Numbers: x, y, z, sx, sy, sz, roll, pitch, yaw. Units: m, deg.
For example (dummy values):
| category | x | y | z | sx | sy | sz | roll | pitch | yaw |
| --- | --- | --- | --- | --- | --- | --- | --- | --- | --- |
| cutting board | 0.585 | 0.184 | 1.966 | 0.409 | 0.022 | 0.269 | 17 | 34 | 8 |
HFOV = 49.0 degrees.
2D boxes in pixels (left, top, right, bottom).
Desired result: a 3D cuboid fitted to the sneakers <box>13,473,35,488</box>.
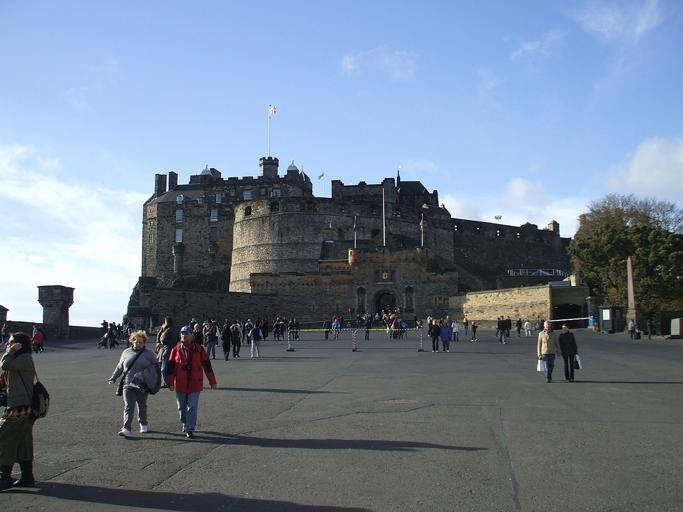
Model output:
| category | x | y | z | sx | sy | sz | roll | pitch | yaw |
| --- | --- | --- | --- | --- | --- | --- | --- | --- | --- |
| sneakers | -3.651 | 2.599 | 8.671 | 0.281 | 0.144 | 0.111 | 0 | -5 | 7 |

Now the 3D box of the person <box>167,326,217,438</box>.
| category | x | y | z | sx | sy | sz | roll | pitch | yaw |
| --- | --- | --- | --- | --- | --- | --- | --- | --- | --- |
| person | -2.197 | 1.816 | 11.013 | 0.698 | 1.528 | 1.008 | 2 | -5 | -12 |

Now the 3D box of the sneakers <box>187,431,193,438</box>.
| category | x | y | z | sx | sy | sz | roll | pitch | yaw |
| --- | --- | --- | --- | --- | --- | --- | --- | --- | --- |
| sneakers | -2.110 | 2.498 | 10.511 | 0.092 | 0.095 | 0.138 | 2 | -5 | -14 |

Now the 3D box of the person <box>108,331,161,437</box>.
| category | x | y | z | sx | sy | sz | roll | pitch | yaw |
| --- | --- | --- | --- | --- | --- | --- | --- | --- | --- |
| person | -3.129 | 1.861 | 11.382 | 0.715 | 1.460 | 1.822 | 3 | -5 | -16 |

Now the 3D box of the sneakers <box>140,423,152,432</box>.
| category | x | y | z | sx | sy | sz | roll | pitch | yaw |
| --- | --- | --- | --- | --- | --- | --- | --- | --- | --- |
| sneakers | -2.850 | 2.536 | 11.002 | 0.087 | 0.155 | 0.231 | 7 | -20 | -27 |

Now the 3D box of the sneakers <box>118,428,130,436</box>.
| category | x | y | z | sx | sy | sz | roll | pitch | yaw |
| --- | --- | --- | --- | --- | --- | --- | --- | --- | --- |
| sneakers | -3.041 | 2.466 | 10.547 | 0.149 | 0.117 | 0.276 | 3 | -5 | -23 |

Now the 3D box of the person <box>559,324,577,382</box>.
| category | x | y | z | sx | sy | sz | roll | pitch | yaw |
| --- | --- | --- | --- | --- | --- | --- | --- | --- | --- |
| person | 4.912 | 2.077 | 16.340 | 0.381 | 1.202 | 1.215 | 0 | -5 | 16 |

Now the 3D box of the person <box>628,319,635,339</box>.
| category | x | y | z | sx | sy | sz | roll | pitch | yaw |
| --- | --- | --- | --- | --- | --- | --- | --- | --- | --- |
| person | 12.996 | 3.268 | 33.605 | 0.239 | 0.779 | 0.683 | -1 | -5 | 24 |
